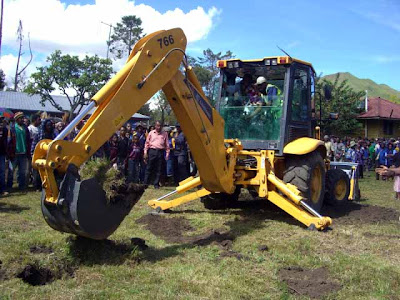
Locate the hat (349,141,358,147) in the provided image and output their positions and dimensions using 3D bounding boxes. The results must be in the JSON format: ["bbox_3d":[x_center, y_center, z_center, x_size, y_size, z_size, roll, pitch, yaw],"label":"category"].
[{"bbox_3d":[8.250,-0.260,18.075,0.333,0.119,0.333,-43,1,-16],"label":"hat"}]

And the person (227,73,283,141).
[{"bbox_3d":[1.252,-0.912,7.555,1.322,1.651,0.849,3,-3,6],"label":"person"}]

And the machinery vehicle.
[{"bbox_3d":[0.052,-0.282,6.280,3.607,2.745,5.292,4,6,42],"label":"machinery vehicle"}]

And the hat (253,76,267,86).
[{"bbox_3d":[1.377,-1.615,7.597,0.282,0.156,0.221,-16,7,-22],"label":"hat"}]
